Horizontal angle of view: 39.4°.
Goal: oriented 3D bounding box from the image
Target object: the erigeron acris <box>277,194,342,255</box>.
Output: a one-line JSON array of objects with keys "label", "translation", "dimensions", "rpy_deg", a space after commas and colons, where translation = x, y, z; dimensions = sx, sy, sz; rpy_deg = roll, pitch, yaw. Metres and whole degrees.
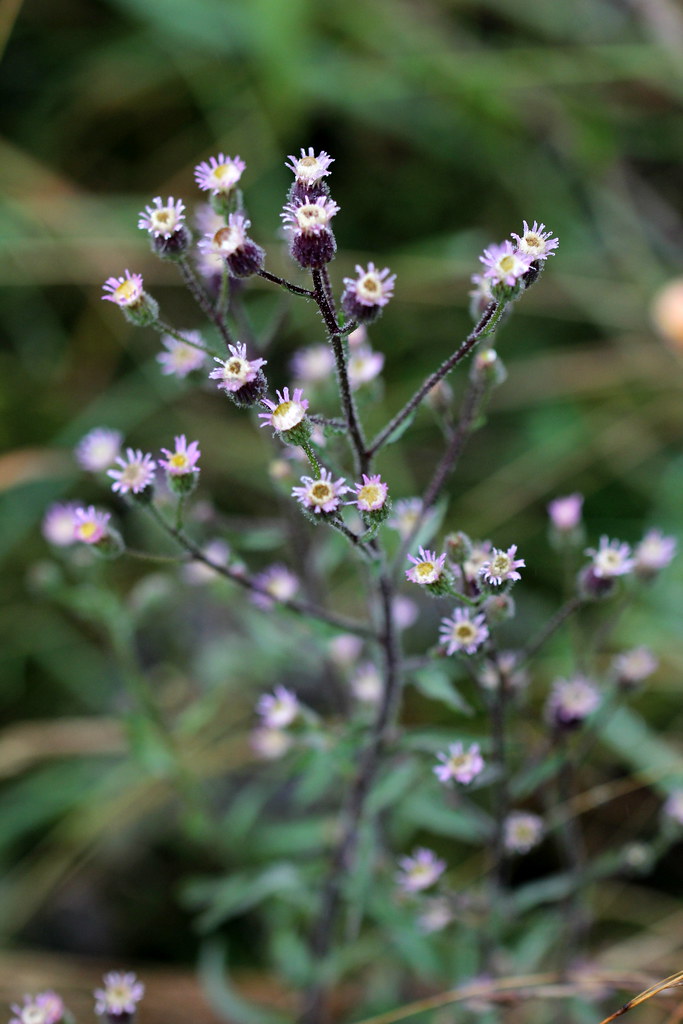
[{"label": "erigeron acris", "translation": [-0.040, -0.470, 1.601], "dimensions": [0.129, 0.067, 0.115], "rpy_deg": [-14, 22, 11]}]
